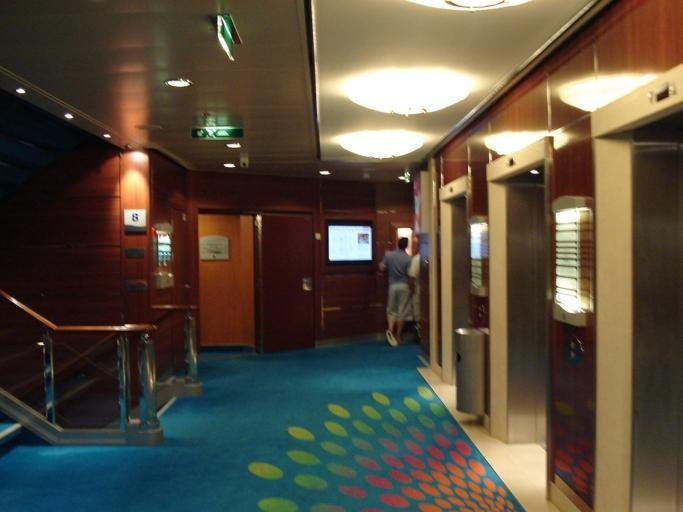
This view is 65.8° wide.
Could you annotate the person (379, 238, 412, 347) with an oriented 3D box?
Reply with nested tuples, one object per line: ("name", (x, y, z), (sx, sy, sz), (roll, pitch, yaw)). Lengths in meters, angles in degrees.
("person", (1.006, 0.759, 9.663), (0.536, 1.727, 0.304), (1, 5, 15))

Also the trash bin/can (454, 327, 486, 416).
("trash bin/can", (1.378, 1.277, 5.660), (0.325, 0.967, 0.295), (1, 5, 13))

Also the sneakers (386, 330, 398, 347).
("sneakers", (0.921, 1.523, 9.757), (0.134, 0.331, 0.125), (-33, -22, 29))
